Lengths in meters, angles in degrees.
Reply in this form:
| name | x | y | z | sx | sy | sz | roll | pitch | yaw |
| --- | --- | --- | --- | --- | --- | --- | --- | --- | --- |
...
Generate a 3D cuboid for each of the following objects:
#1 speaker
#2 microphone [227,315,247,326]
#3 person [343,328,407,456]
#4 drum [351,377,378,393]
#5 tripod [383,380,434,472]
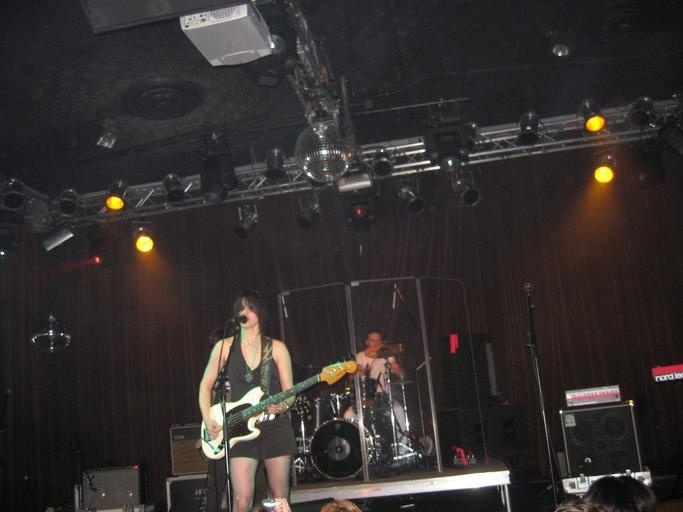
| name | x | y | z | sx | sy | sz | roll | pitch | yaw |
| --- | --- | --- | --- | --- | --- | --- | --- | --- | --- |
| speaker | 3.110 | 2.262 | 8.202 | 0.772 | 0.863 | 0.843 | -4 | -17 | 10 |
| microphone | -0.949 | 0.584 | 6.247 | 0.161 | 0.086 | 0.122 | -5 | -15 | -11 |
| person | 0.418 | 1.595 | 7.922 | 0.522 | 1.079 | 1.062 | 5 | -20 | -16 |
| drum | 0.332 | 1.526 | 8.124 | 0.171 | 0.127 | 0.183 | 1 | -20 | 0 |
| tripod | 0.788 | 1.926 | 7.861 | 0.456 | 1.000 | 0.176 | -8 | -13 | 6 |
